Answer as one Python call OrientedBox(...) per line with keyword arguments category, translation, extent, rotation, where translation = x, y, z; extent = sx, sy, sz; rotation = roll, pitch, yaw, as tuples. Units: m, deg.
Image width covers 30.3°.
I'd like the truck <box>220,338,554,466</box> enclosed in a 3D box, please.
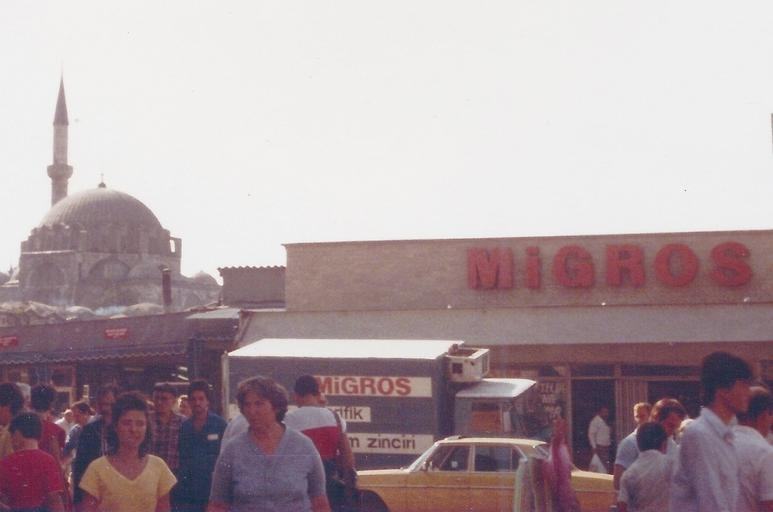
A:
OrientedBox(category="truck", translation=(0.083, 3.819, 36.432), extent=(6.494, 3.338, 3.394), rotation=(-1, 0, 12))
